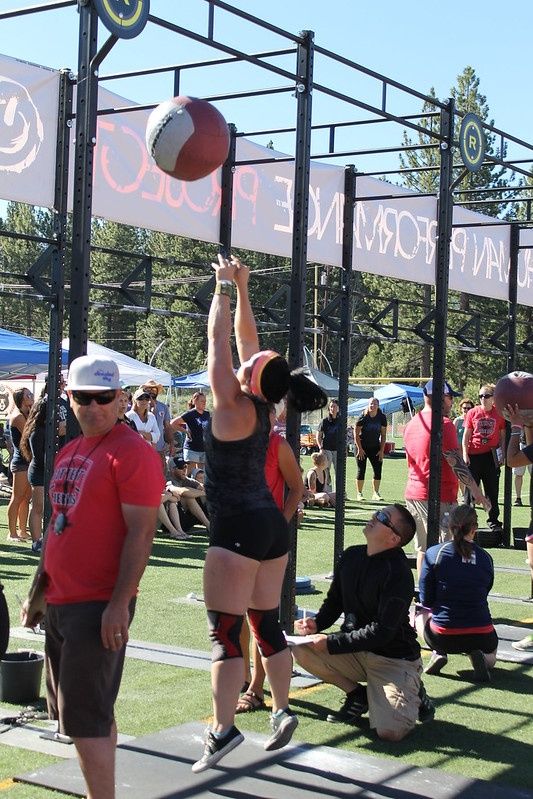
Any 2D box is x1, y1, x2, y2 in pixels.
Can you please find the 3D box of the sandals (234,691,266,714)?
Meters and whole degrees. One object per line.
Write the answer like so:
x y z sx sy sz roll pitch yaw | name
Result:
-0.080 1.514 4.556 0.099 0.079 0.268 -4 -16 7 | sandals

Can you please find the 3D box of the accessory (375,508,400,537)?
0.599 0.614 4.491 0.112 0.032 0.109 36 -4 -13 | accessory

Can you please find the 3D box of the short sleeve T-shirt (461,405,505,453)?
3.004 0.418 12.413 0.730 0.812 0.433 0 -3 -2 | short sleeve T-shirt

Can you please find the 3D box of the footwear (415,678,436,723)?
0.808 1.520 4.541 0.077 0.164 0.234 -2 6 17 | footwear

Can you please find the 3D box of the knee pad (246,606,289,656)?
0.002 0.977 3.804 0.136 0.210 0.144 -1 -10 -14 | knee pad

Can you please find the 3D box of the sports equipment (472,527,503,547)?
2.824 1.746 11.523 0.408 0.249 0.407 2 4 -1 | sports equipment

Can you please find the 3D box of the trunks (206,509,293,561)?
-0.057 0.484 3.555 0.322 0.219 0.220 4 -2 -41 | trunks

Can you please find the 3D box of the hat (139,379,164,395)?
-1.888 -0.233 14.712 0.296 0.122 0.317 10 -33 -4 | hat

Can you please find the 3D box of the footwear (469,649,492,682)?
1.293 1.591 5.428 0.123 0.181 0.097 2 0 5 | footwear

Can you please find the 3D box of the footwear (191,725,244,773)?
-0.184 1.281 3.332 0.150 0.165 0.125 2 0 23 | footwear

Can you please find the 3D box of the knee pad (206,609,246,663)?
-0.158 0.902 3.460 0.132 0.196 0.124 2 0 -4 | knee pad

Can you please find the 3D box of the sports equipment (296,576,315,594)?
0.324 1.558 7.594 0.207 0.131 0.207 0 -2 -1 | sports equipment

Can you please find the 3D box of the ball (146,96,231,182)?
-0.398 -1.324 4.590 0.429 0.467 0.430 1 11 0 | ball

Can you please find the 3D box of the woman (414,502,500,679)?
1.226 1.209 5.704 0.668 1.046 0.696 8 -11 -36 | woman

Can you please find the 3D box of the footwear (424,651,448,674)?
1.045 1.612 5.540 0.081 0.088 0.204 5 -25 -5 | footwear

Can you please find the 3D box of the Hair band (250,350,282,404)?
-0.011 -0.100 3.550 0.131 0.173 0.068 -6 -3 -31 | Hair band

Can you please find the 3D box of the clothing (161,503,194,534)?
-1.023 1.506 11.559 0.309 0.475 0.490 -1 -10 17 | clothing

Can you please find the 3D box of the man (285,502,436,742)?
0.513 1.095 4.563 0.760 1.028 0.774 9 -10 -32 | man

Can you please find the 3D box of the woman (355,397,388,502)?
1.990 0.949 17.288 0.597 1.943 0.518 1 0 15 | woman

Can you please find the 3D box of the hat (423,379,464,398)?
1.549 -0.089 8.110 0.431 0.221 0.271 -1 1 -19 | hat

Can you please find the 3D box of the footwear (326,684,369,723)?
0.433 1.520 4.564 0.276 0.133 0.090 -11 -2 -44 | footwear

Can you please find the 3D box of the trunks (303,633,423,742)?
0.497 1.405 4.376 0.395 0.271 0.522 6 -21 35 | trunks
